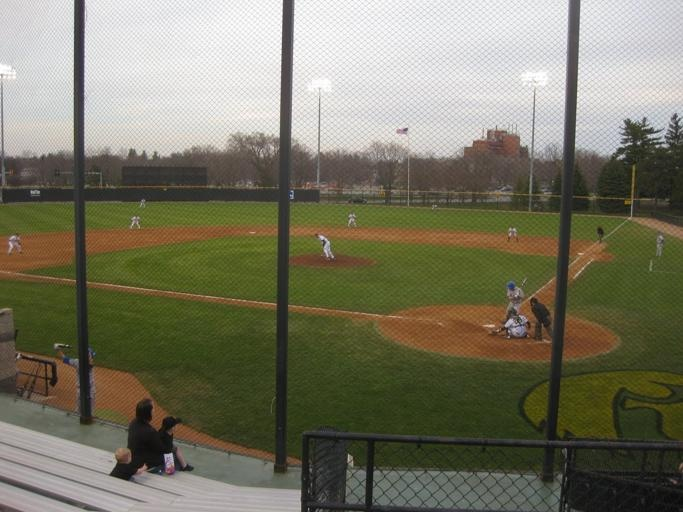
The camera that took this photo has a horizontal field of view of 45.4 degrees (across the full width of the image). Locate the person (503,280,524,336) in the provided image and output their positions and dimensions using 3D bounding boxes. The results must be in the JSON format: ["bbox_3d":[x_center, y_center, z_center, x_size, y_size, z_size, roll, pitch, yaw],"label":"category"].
[{"bbox_3d":[3.689,1.156,17.574,0.450,1.066,0.871,-2,17,-5],"label":"person"}]

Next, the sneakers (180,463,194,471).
[{"bbox_3d":[-2.198,2.978,11.588,0.159,0.072,0.081,-2,9,-20],"label":"sneakers"}]

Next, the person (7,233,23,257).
[{"bbox_3d":[-11.437,-0.475,28.479,0.470,0.702,1.825,-2,6,-22],"label":"person"}]
